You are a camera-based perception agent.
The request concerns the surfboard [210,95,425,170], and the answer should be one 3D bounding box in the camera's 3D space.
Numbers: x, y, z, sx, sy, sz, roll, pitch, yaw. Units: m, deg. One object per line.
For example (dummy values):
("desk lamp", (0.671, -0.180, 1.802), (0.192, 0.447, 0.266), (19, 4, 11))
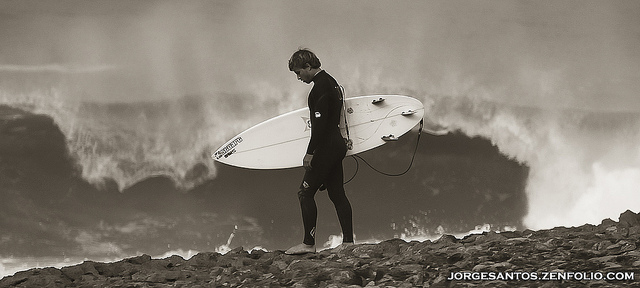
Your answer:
("surfboard", (0.468, -0.306, 16.658), (0.847, 1.336, 5.152), (17, -15, -29))
